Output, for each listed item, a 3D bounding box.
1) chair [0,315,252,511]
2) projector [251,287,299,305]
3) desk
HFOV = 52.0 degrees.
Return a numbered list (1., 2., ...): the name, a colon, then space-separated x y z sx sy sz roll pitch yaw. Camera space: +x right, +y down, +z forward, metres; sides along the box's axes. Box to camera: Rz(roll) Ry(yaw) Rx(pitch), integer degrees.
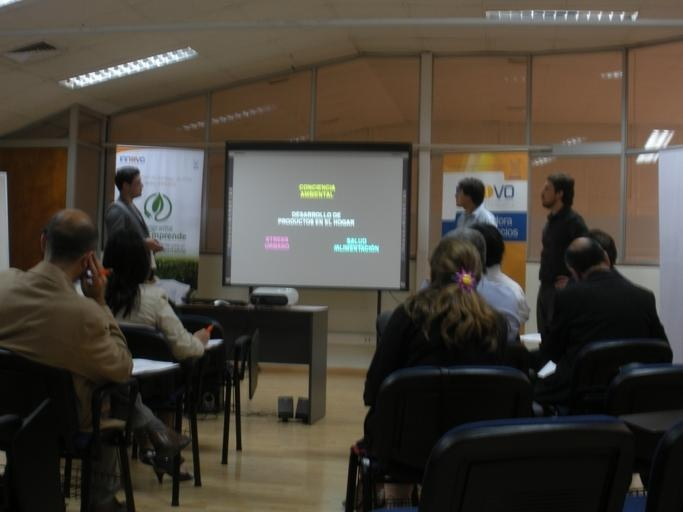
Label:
1. chair: -1.145 0.830 4.132 0.737 1.124 0.923 0 2 21
2. projector: -0.561 0.325 5.648 0.357 0.136 0.274 2 3 12
3. desk: -0.670 0.776 5.091 0.757 0.674 0.296 -1 -5 6
